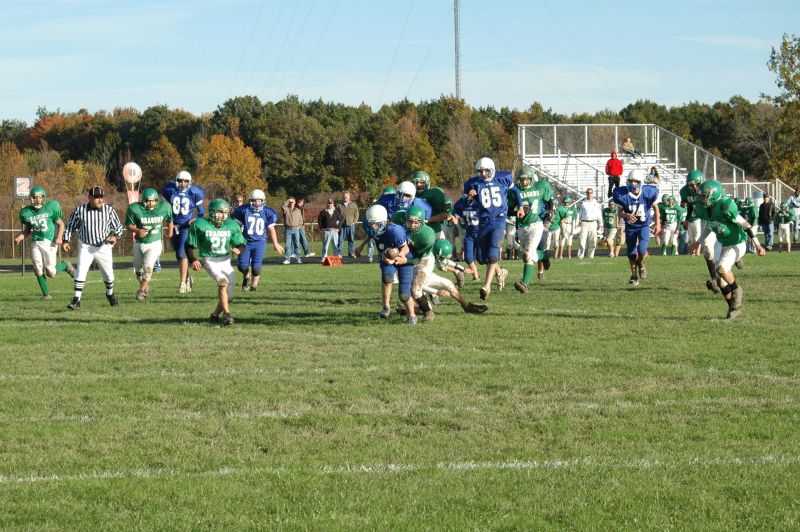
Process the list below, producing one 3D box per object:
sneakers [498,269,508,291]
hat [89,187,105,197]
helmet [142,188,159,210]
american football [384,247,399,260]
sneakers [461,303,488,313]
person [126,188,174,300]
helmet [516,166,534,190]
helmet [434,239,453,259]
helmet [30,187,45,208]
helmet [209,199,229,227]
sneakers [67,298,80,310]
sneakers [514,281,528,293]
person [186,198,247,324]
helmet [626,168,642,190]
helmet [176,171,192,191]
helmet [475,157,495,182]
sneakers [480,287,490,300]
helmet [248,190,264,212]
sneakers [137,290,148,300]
[{"bbox_3d":[1.888,0.247,23.415,0.128,0.387,0.180,4,15,24],"label":"sneakers"},{"bbox_3d":[-5.224,-1.290,21.872,0.181,0.136,0.241,-2,8,-31],"label":"hat"},{"bbox_3d":[-4.518,-1.248,22.970,0.282,0.364,0.503,-1,1,-11],"label":"helmet"},{"bbox_3d":[-0.115,-0.204,19.375,0.165,0.165,0.192,28,-29,21],"label":"american football"},{"bbox_3d":[1.213,0.664,20.697,0.426,0.206,0.158,-4,31,6],"label":"sneakers"},{"bbox_3d":[-4.632,-0.437,23.421,0.850,2.024,1.410,-1,1,-11],"label":"person"},{"bbox_3d":[2.376,-1.675,23.951,0.318,0.371,0.428,-3,3,7],"label":"helmet"},{"bbox_3d":[0.696,-0.290,20.588,0.237,0.326,0.292,-9,7,4],"label":"helmet"},{"bbox_3d":[-6.637,-1.277,23.230,0.240,0.379,0.560,-2,1,-17],"label":"helmet"},{"bbox_3d":[-2.842,-0.856,19.839,0.284,0.432,0.338,-1,1,-9],"label":"helmet"},{"bbox_3d":[-5.647,0.640,21.935,0.128,0.161,0.348,0,-5,-3],"label":"sneakers"},{"bbox_3d":[2.151,0.377,22.643,0.142,0.130,0.300,-10,-2,-7],"label":"sneakers"},{"bbox_3d":[-2.889,-0.081,19.927,0.881,1.980,0.505,-1,1,-10],"label":"person"},{"bbox_3d":[4.449,-1.619,23.849,0.265,0.339,0.354,1,4,20],"label":"helmet"},{"bbox_3d":[-4.213,-1.674,24.693,0.292,0.317,0.379,3,13,-8],"label":"helmet"},{"bbox_3d":[1.428,-1.721,22.403,0.334,0.396,0.446,-6,6,14],"label":"helmet"},{"bbox_3d":[1.420,0.456,21.283,0.109,0.133,0.312,1,-9,3],"label":"sneakers"},{"bbox_3d":[-2.731,-1.284,24.253,0.313,0.379,0.405,0,5,-7],"label":"helmet"},{"bbox_3d":[-4.708,0.500,23.087,0.179,0.171,0.280,-1,1,-10],"label":"sneakers"}]
